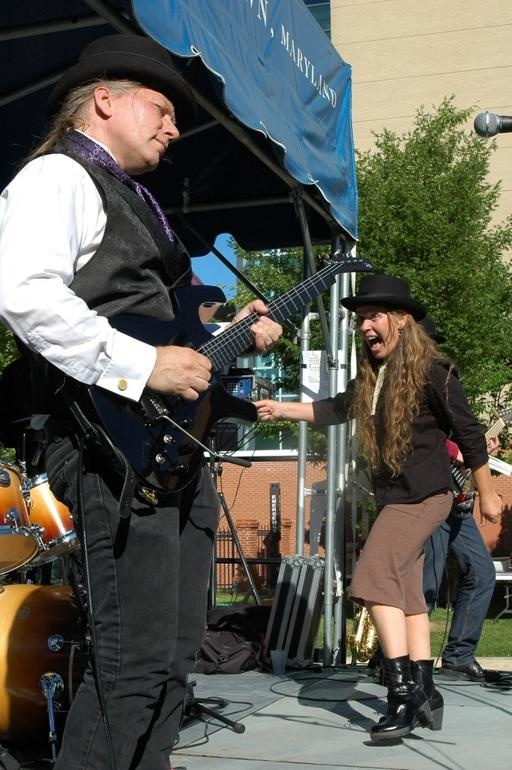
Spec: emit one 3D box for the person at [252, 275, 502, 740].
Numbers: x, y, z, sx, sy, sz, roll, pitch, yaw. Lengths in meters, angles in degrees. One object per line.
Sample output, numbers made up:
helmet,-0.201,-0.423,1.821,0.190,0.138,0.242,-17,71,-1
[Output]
person,0.506,0.377,4.119,0.994,2.231,0.842,3,-5,-24
